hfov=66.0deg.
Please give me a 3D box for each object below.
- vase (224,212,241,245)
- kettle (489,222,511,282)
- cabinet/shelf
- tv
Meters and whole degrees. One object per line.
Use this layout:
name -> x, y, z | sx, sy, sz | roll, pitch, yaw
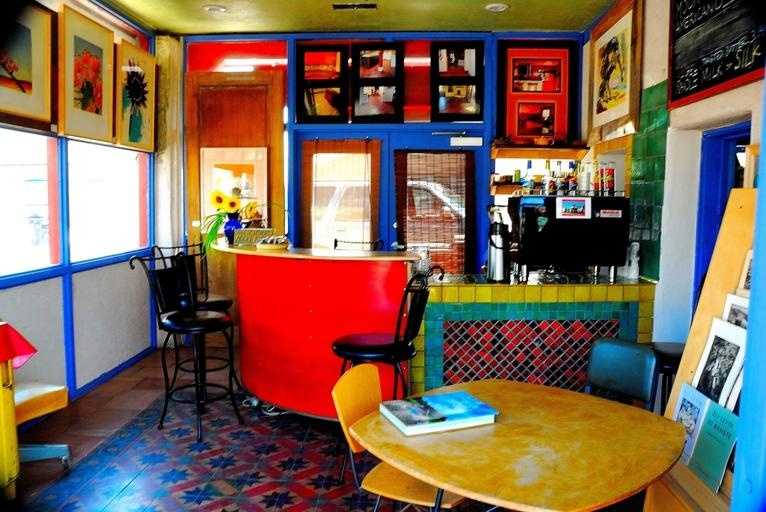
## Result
vase -> -1.380, -0.259, 5.463 | 0.163, 0.291, 0.311 | -2, 7, -15
kettle -> 0.967, -0.033, 4.961 | 0.176, 0.501, 0.175 | 1, 7, 10
cabinet/shelf -> 1.697, -0.703, 6.490 | 1.021, 0.868, 0.646 | 0, 6, 5
tv -> 1.647, -0.212, 5.130 | 0.942, 0.619, 0.159 | 0, 7, -1
